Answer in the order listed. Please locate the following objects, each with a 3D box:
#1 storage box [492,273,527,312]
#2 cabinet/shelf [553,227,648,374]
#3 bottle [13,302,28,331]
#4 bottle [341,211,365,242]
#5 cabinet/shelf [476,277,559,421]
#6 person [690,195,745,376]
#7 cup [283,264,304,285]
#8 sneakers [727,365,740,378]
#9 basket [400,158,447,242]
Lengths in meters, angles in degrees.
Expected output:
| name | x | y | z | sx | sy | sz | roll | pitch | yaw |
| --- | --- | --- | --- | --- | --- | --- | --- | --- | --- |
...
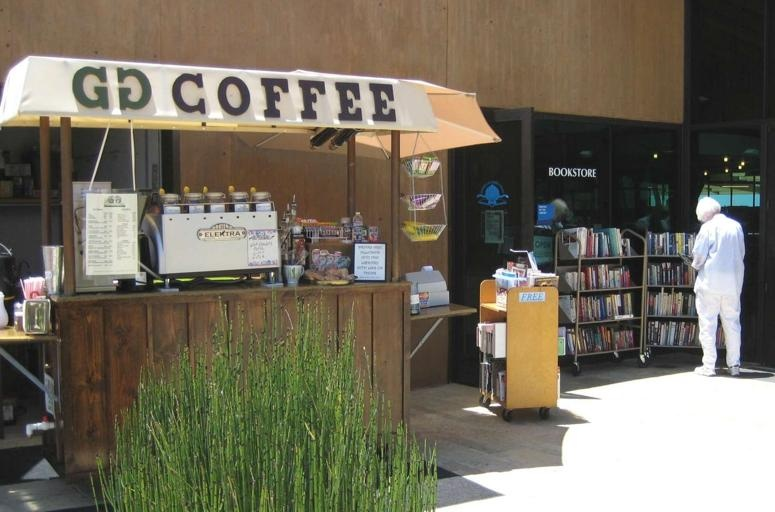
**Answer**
| name | x | y | z | sx | sy | sz | roll | pitch | yaw |
| --- | --- | --- | --- | --- | --- | --- | --- | --- | --- |
| storage box | 1.254 | 0.332 | 9.533 | 0.334 | 0.339 | 0.445 | 3 | 0 | 22 |
| cabinet/shelf | 2.646 | 0.482 | 11.268 | 1.377 | 1.681 | 0.643 | -5 | 11 | -29 |
| bottle | -3.001 | 0.499 | 7.596 | 0.058 | 0.250 | 0.219 | -5 | 12 | -30 |
| bottle | -0.291 | -0.251 | 8.740 | 0.290 | 0.320 | 0.179 | -2 | -2 | 29 |
| cabinet/shelf | 1.319 | 0.916 | 9.438 | 0.733 | 1.314 | 0.648 | 1 | 1 | -21 |
| person | 3.809 | 0.369 | 10.738 | 0.602 | 1.990 | 0.423 | 4 | 10 | 19 |
| cup | -0.822 | 0.162 | 8.247 | 0.192 | 0.167 | 0.214 | -3 | 11 | -17 |
| sneakers | 4.017 | 1.335 | 10.786 | 0.094 | 0.102 | 0.126 | 2 | -17 | -5 |
| basket | 0.369 | -0.580 | 9.551 | 0.485 | 0.737 | 0.515 | -7 | -2 | -2 |
